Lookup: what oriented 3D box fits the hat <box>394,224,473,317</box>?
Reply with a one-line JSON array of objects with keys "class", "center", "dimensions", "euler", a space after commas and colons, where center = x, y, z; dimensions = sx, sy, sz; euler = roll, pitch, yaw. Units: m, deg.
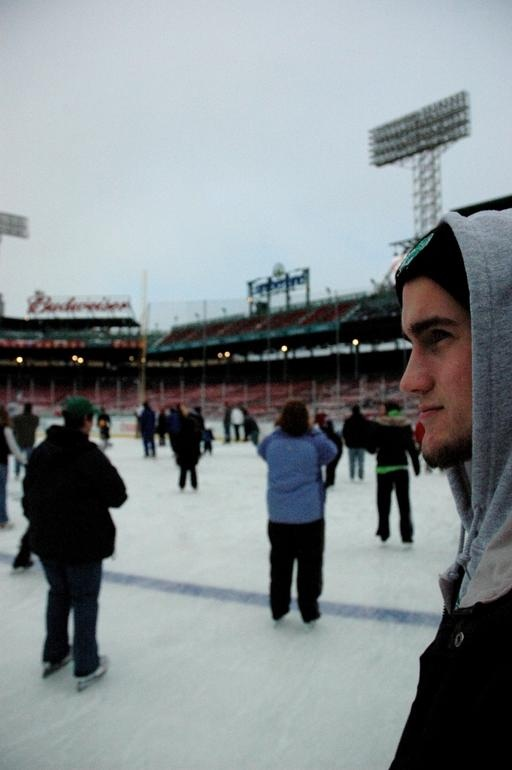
[{"class": "hat", "center": [0.412, -0.248, 1.738], "dimensions": [0.192, 0.173, 0.182], "euler": [0, 21, 41]}]
